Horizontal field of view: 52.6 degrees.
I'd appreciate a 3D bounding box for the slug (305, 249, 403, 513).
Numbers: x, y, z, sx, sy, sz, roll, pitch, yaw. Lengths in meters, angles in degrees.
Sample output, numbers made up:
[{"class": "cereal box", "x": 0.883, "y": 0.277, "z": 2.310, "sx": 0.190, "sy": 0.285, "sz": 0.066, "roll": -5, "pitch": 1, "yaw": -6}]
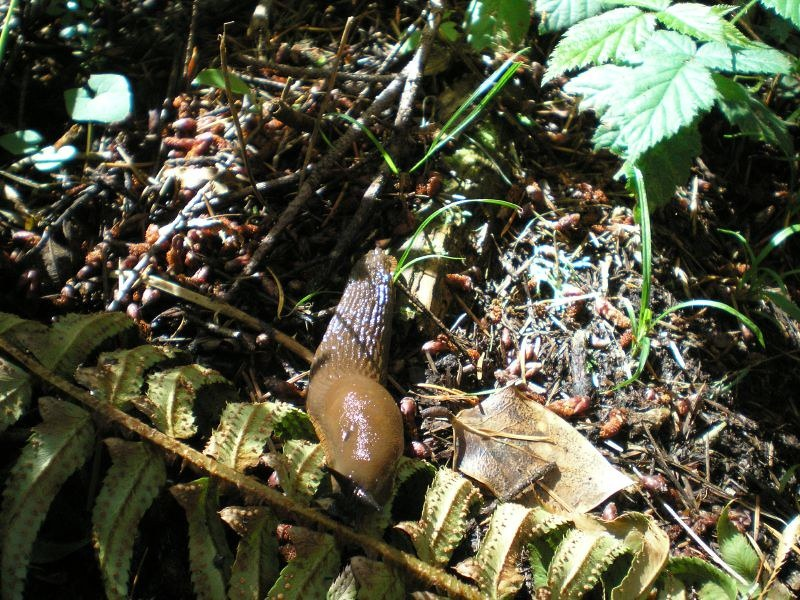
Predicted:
[{"class": "slug", "x": -0.252, "y": 0.493, "z": 5.051, "sx": 0.485, "sy": 0.302, "sz": 1.509, "roll": 14, "pitch": 53, "yaw": -8}]
